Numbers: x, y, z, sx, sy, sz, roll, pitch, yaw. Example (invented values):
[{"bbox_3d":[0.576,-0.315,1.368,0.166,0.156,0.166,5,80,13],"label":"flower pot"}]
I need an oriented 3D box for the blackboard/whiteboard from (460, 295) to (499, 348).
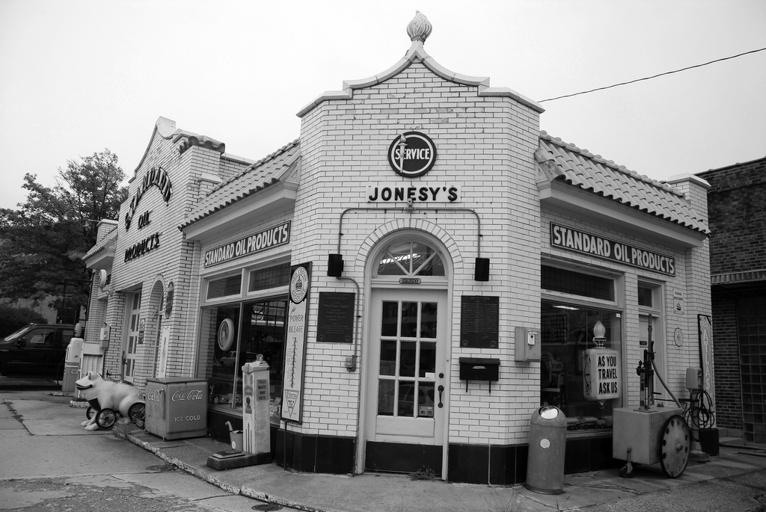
[{"bbox_3d":[1.910,1.295,12.782,0.772,1.050,0.149,1,3,3],"label":"blackboard/whiteboard"}]

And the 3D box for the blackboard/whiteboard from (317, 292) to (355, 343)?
[{"bbox_3d":[-0.936,1.278,12.962,0.959,1.286,0.093,1,-3,4],"label":"blackboard/whiteboard"}]
